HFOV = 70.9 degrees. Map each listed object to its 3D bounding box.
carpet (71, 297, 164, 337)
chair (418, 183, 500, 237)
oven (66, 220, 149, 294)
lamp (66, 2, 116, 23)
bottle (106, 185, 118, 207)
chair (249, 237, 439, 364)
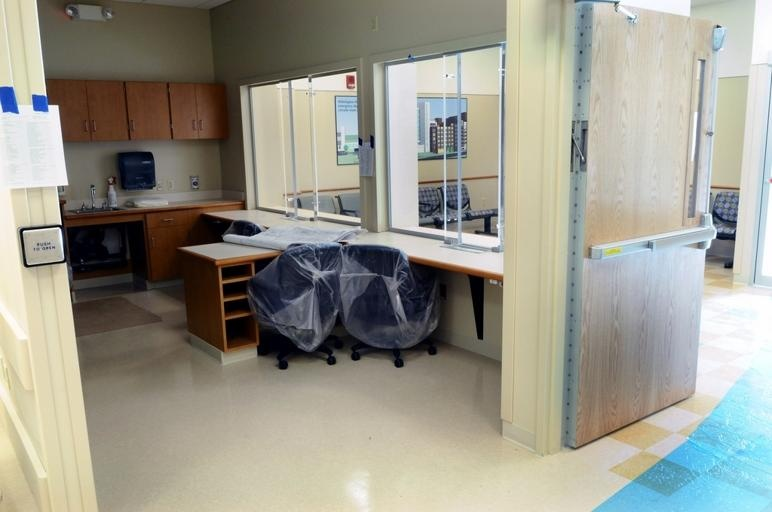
[{"bbox_3d":[-2.957,0.610,5.874,0.777,0.068,1.186,-13,18,-31],"label":"carpet"},{"bbox_3d":[0.915,-0.606,7.127,0.710,0.881,1.425,4,17,26],"label":"chair"},{"bbox_3d":[-3.497,-0.090,6.668,0.745,0.698,0.541,-9,7,-35],"label":"oven"},{"bbox_3d":[-3.548,-2.931,6.472,0.505,0.203,0.131,-13,18,-31],"label":"lamp"},{"bbox_3d":[-3.429,-0.761,6.775,0.136,0.264,0.263,-12,17,-25],"label":"bottle"},{"bbox_3d":[-0.300,0.312,4.341,1.101,0.743,1.216,2,21,16],"label":"chair"}]
